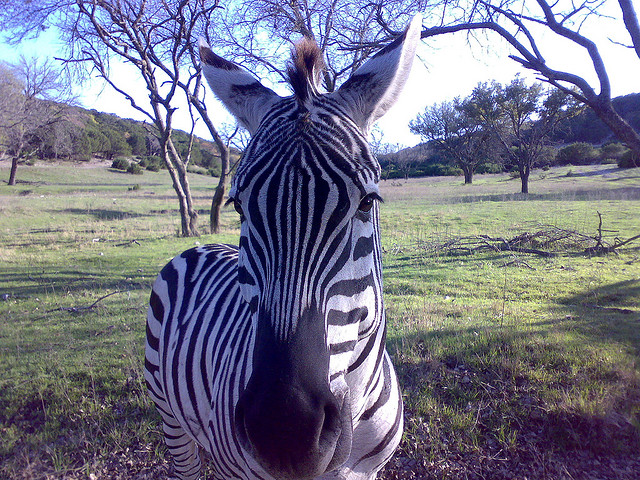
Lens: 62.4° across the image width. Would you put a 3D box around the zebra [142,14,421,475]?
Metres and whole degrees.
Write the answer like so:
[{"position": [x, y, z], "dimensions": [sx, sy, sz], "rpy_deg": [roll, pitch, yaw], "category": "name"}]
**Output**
[{"position": [-0.668, 0.385, 8.397], "dimensions": [4.051, 7.506, 2.193], "rpy_deg": [1, 4, 28], "category": "zebra"}]
